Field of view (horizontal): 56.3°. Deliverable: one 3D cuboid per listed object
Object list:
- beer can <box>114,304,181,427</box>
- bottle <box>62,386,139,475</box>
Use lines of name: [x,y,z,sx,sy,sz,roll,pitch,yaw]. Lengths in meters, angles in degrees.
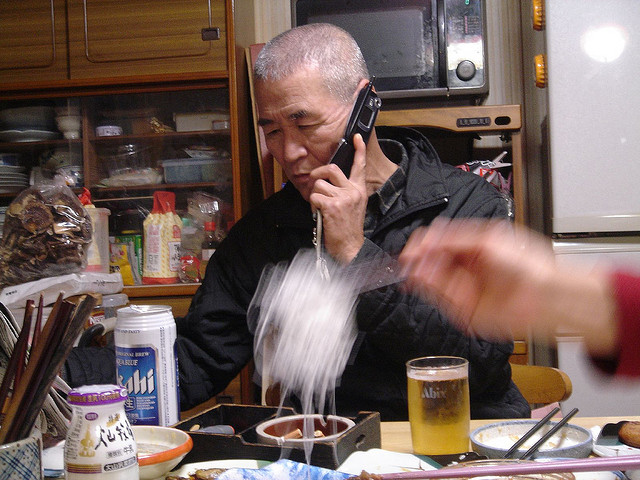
beer can: [-0.309,0.226,1.082,0.107,0.252,0.083,-2,-4,5]
bottle: [-0.336,0.296,0.898,0.100,0.133,0.059,-8,7,-23]
